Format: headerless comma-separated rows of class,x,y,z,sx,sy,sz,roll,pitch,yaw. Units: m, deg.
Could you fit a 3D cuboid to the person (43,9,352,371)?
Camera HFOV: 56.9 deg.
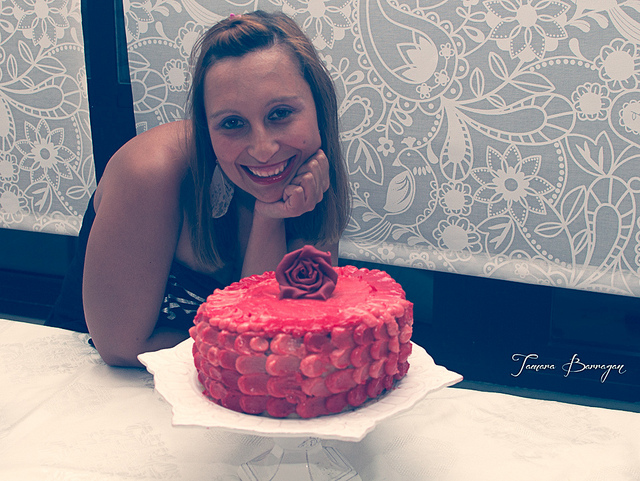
person,-0.357,-0.348,2.465,1.265,1.380,1.056,23,27,39

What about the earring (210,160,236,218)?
earring,-0.343,-0.178,2.073,0.090,0.198,0.038,1,11,-23

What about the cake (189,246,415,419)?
cake,-0.043,0.147,1.512,0.480,0.284,0.465,-4,13,-12
